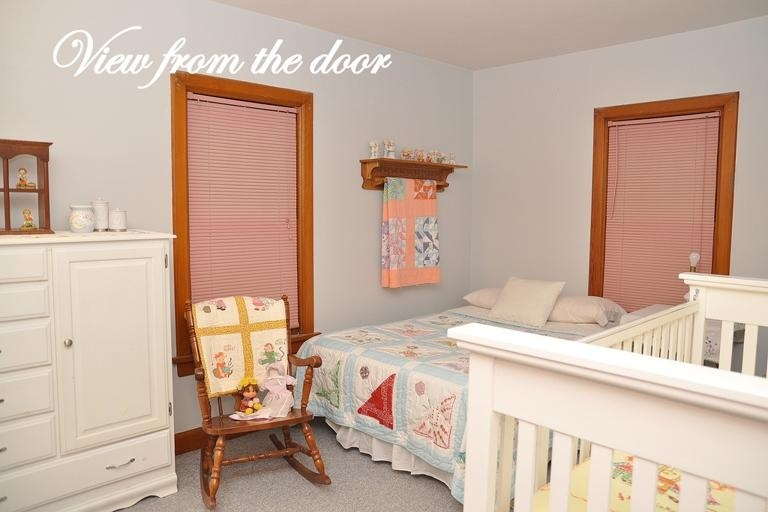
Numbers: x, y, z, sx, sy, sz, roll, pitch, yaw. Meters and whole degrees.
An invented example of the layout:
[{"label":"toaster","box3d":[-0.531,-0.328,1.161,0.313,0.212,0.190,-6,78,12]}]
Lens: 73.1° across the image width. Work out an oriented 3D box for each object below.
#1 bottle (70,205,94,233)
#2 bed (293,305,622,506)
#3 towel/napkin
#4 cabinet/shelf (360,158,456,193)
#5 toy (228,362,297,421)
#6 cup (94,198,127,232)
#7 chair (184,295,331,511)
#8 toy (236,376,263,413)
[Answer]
[{"label":"bottle","box3d":[-1.824,-0.225,3.146,0.137,0.163,0.178,1,3,6]},{"label":"bed","box3d":[0.638,1.031,4.146,1.904,0.464,1.252,0,1,-42]},{"label":"towel/napkin","box3d":[0.264,-0.226,4.912,0.706,1.007,0.203,-8,15,-36]},{"label":"cabinet/shelf","box3d":[0.211,-0.765,4.882,0.917,0.298,0.215,-8,15,-39]},{"label":"toy","box3d":[-0.806,0.914,3.458,0.400,0.284,0.394,0,11,-3]},{"label":"cup","box3d":[-1.751,-0.253,3.290,0.217,0.190,0.117,-4,8,-45]},{"label":"chair","box3d":[-0.848,0.909,3.611,0.916,1.209,1.000,-4,13,-19]},{"label":"toy","box3d":[-0.892,0.964,3.515,0.185,0.256,0.162,3,-1,25]}]
